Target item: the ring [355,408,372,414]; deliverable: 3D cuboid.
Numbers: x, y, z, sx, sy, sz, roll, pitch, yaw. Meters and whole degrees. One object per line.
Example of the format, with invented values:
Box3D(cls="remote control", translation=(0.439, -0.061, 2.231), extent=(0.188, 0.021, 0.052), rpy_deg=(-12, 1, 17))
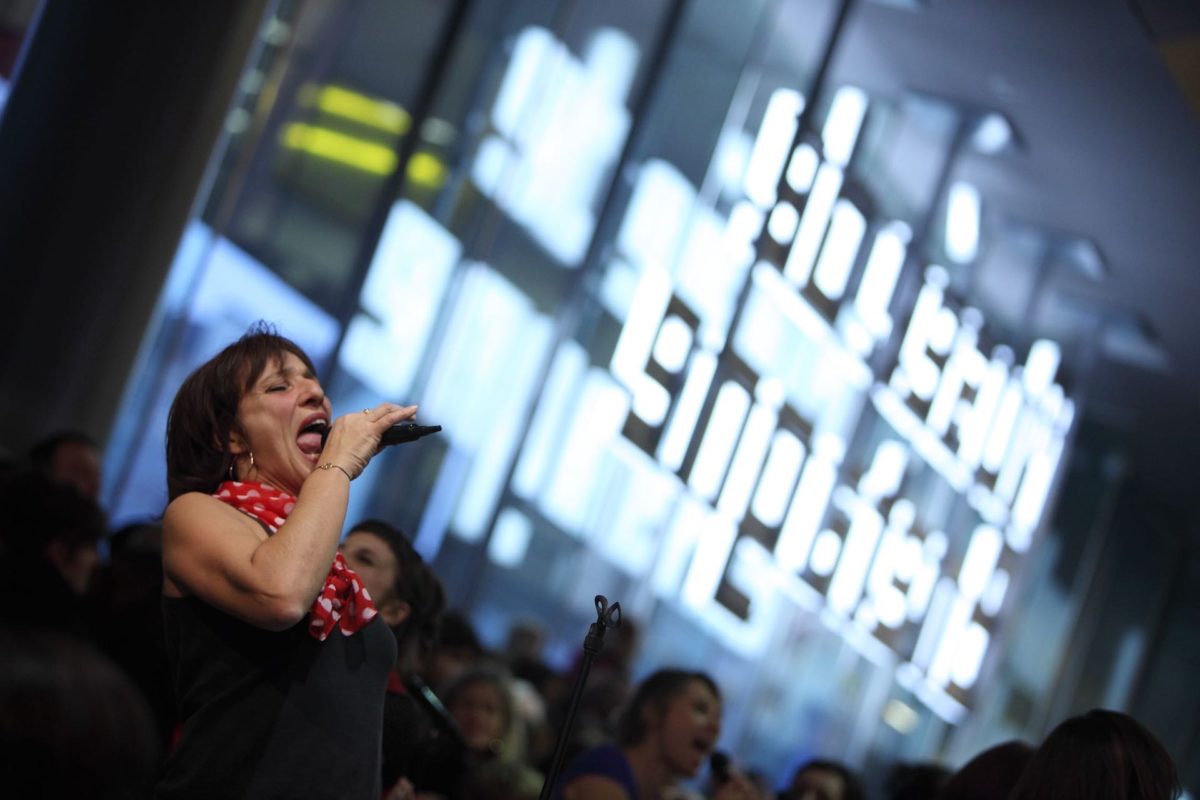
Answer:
Box3D(cls="ring", translation=(-0.509, 0.027, 2.727), extent=(0.026, 0.010, 0.038), rpy_deg=(-1, 7, 2))
